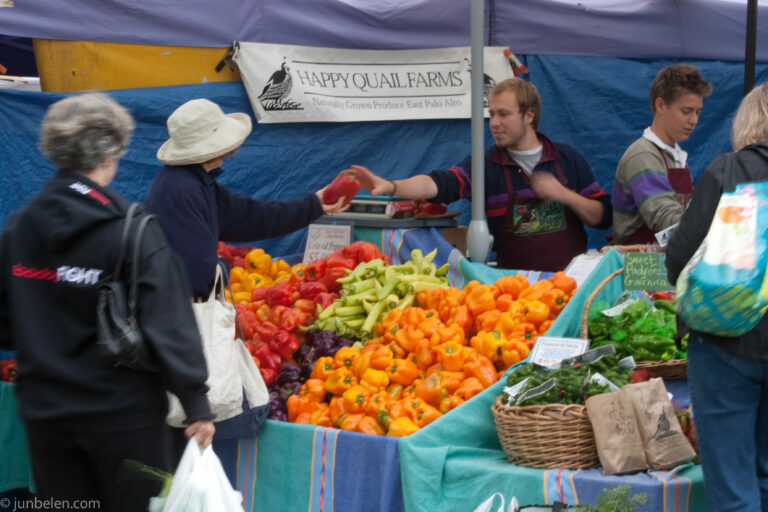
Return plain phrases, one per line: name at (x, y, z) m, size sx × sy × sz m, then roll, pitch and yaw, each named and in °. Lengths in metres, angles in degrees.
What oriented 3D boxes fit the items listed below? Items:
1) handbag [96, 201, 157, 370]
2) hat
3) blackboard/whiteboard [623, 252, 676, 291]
handbag at (-1.105, 0.141, 2.704) m, size 0.151 × 0.728 × 0.282 m, roll 0°, pitch 7°, yaw 28°
hat at (-1.196, -0.740, 4.094) m, size 0.549 × 0.220 × 0.472 m, roll -19°, pitch 31°, yaw 16°
blackboard/whiteboard at (1.741, 0.104, 4.099) m, size 0.333 × 0.275 × 0.230 m, roll 1°, pitch 0°, yaw 19°
